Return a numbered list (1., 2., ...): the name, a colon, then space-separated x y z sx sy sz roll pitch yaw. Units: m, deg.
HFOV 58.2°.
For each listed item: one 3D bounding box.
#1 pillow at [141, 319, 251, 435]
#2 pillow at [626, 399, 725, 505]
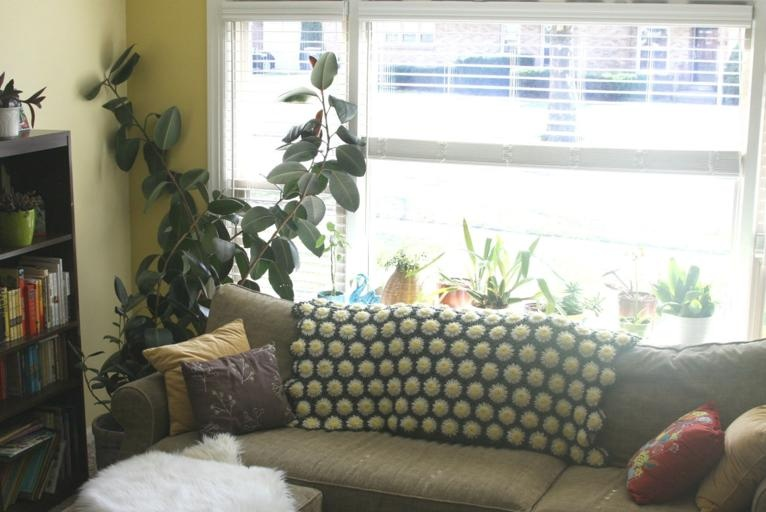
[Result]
1. pillow: -0.962 0.600 3.446 0.491 0.504 0.147 -14 -11 -43
2. pillow: 1.223 0.877 2.977 0.178 0.385 0.376 36 38 -12
